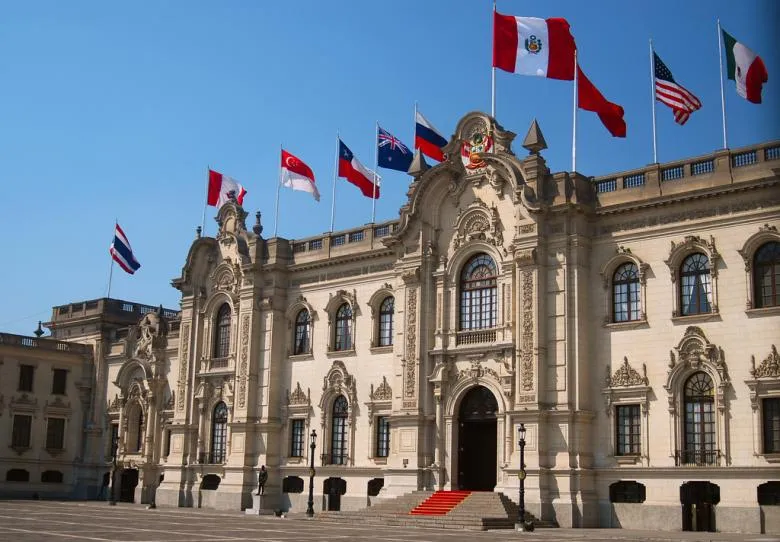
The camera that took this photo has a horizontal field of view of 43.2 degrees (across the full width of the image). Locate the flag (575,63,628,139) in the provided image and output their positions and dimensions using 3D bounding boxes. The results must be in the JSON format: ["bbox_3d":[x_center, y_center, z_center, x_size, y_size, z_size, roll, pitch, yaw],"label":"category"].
[{"bbox_3d":[11.411,-9.074,53.570,2.546,3.820,0.843,3,-17,-9],"label":"flag"}]

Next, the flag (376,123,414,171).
[{"bbox_3d":[0.228,-7.424,61.697,2.062,3.553,2.580,0,-17,-1],"label":"flag"}]

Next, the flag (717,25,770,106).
[{"bbox_3d":[18.076,-10.381,50.144,1.804,4.385,0.982,-5,-17,16],"label":"flag"}]

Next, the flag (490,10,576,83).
[{"bbox_3d":[7.950,-12.536,54.464,4.292,4.353,0.901,-6,-18,19],"label":"flag"}]

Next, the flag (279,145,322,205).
[{"bbox_3d":[-6.153,-6.505,64.873,2.266,2.940,1.479,0,-17,-1],"label":"flag"}]
